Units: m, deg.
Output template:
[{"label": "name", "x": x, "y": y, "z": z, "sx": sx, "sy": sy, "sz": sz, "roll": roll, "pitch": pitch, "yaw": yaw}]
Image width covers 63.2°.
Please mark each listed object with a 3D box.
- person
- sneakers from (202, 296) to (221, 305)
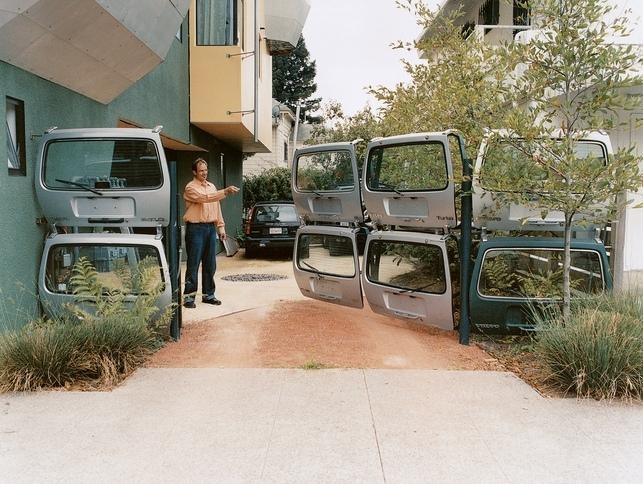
[{"label": "person", "x": -1.920, "y": -0.085, "z": 8.558, "sx": 0.681, "sy": 2.509, "sz": 1.217, "roll": -2, "pitch": 7, "yaw": -15}, {"label": "sneakers", "x": -1.926, "y": 1.035, "z": 9.226, "sx": 0.365, "sy": 0.142, "sz": 0.143, "roll": 3, "pitch": 3, "yaw": 17}]
